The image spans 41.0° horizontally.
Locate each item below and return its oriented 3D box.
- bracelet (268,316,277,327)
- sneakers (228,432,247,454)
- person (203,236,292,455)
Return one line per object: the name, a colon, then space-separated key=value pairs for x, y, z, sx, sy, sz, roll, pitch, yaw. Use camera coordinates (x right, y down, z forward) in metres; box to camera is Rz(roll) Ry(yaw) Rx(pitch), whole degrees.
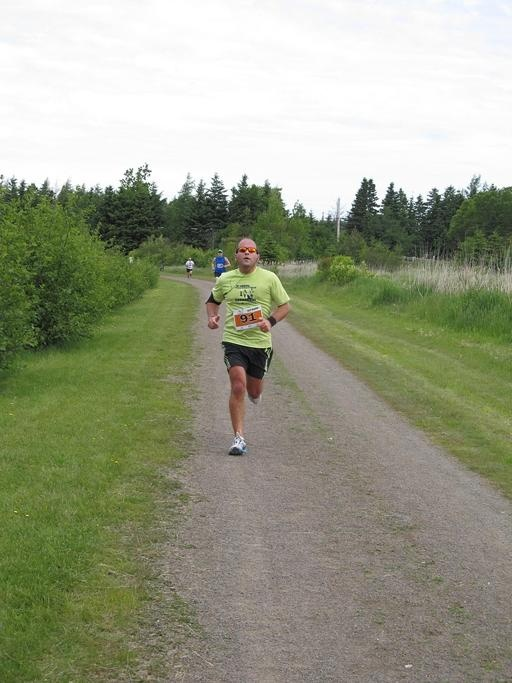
bracelet: x=0.168 y=-0.191 z=6.618 sx=0.095 sy=0.066 sz=0.092 roll=-1 pitch=12 yaw=-14
sneakers: x=-0.154 y=0.999 z=6.756 sx=0.142 sy=0.202 sz=0.273 roll=6 pitch=7 yaw=20
person: x=-0.100 y=0.052 z=6.758 sx=0.801 sy=2.107 sz=0.631 roll=3 pitch=7 yaw=-4
